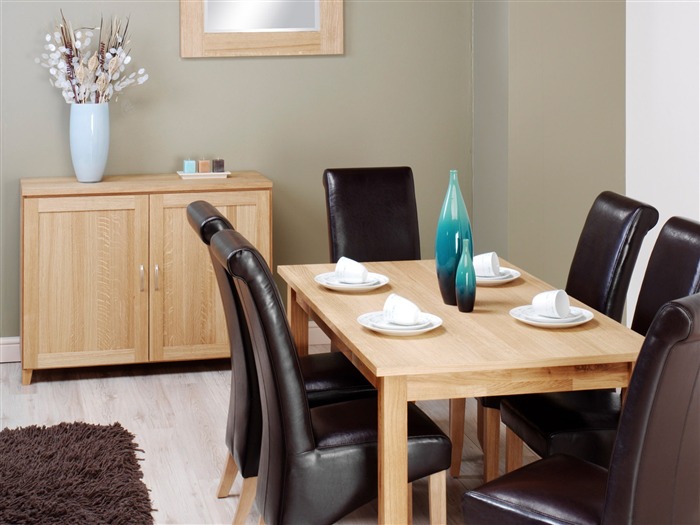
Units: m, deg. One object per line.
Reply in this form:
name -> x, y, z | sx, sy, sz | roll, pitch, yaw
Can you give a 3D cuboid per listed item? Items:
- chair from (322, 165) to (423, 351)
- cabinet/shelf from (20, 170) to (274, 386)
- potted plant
chair -> 0.108, -0.221, 3.061 | 0.408, 0.840, 0.502 | -2, 1, -15
cabinet/shelf -> -1.164, 0.080, 3.265 | 1.115, 0.931, 0.414 | -1, 4, -19
potted plant -> -1.580, -1.014, 3.687 | 0.612, 1.021, 0.469 | -3, 12, -23
